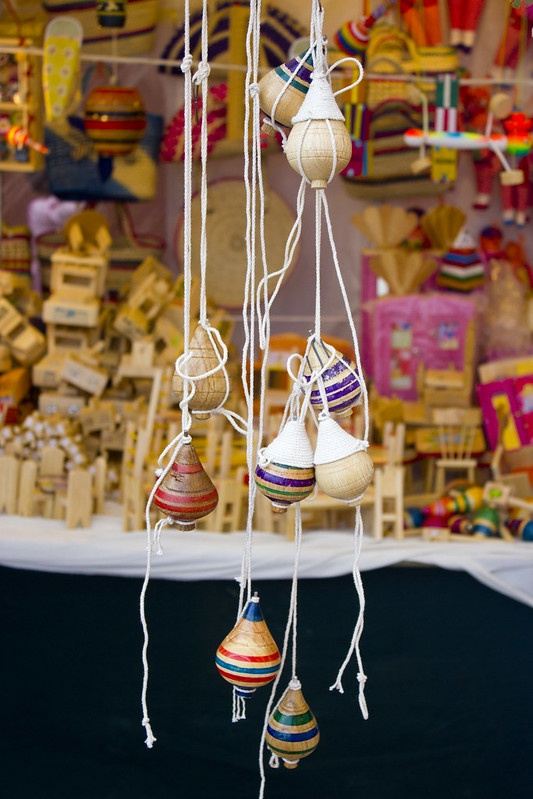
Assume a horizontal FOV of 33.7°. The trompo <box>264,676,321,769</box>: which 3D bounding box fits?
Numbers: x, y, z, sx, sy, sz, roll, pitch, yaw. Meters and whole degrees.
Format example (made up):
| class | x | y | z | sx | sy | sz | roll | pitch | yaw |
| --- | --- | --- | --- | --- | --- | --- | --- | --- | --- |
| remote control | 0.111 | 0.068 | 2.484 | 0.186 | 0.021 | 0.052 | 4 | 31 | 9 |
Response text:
| class | x | y | z | sx | sy | sz | roll | pitch | yaw |
| --- | --- | --- | --- | --- | --- | --- | --- | --- | --- |
| trompo | 0.049 | 0.651 | 1.734 | 0.099 | 0.208 | 0.106 | 4 | 15 | 12 |
